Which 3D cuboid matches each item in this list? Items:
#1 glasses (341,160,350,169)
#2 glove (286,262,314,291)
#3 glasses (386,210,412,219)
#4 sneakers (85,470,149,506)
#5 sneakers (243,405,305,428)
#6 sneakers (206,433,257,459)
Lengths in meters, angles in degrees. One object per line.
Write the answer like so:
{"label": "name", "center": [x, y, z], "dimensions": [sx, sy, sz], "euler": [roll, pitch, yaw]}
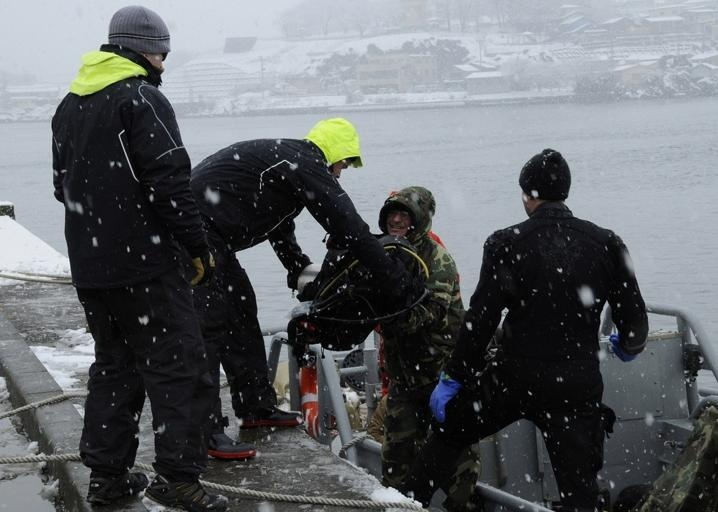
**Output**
{"label": "glasses", "center": [-0.088, -0.576, 7.219], "dimensions": [0.046, 0.045, 0.036], "euler": [19, 18, 35]}
{"label": "glove", "center": [-0.375, 0.140, 7.562], "dimensions": [0.194, 0.132, 0.153], "euler": [-35, 15, 16]}
{"label": "glasses", "center": [0.269, -0.278, 7.538], "dimensions": [0.088, 0.086, 0.034], "euler": [4, 60, 13]}
{"label": "sneakers", "center": [-1.356, 1.304, 6.640], "dimensions": [0.389, 0.182, 0.144], "euler": [-10, 17, -40]}
{"label": "sneakers", "center": [-0.560, 1.071, 7.646], "dimensions": [0.396, 0.156, 0.142], "euler": [2, -3, -8]}
{"label": "sneakers", "center": [-0.784, 1.189, 7.167], "dimensions": [0.281, 0.105, 0.143], "euler": [0, 2, 13]}
